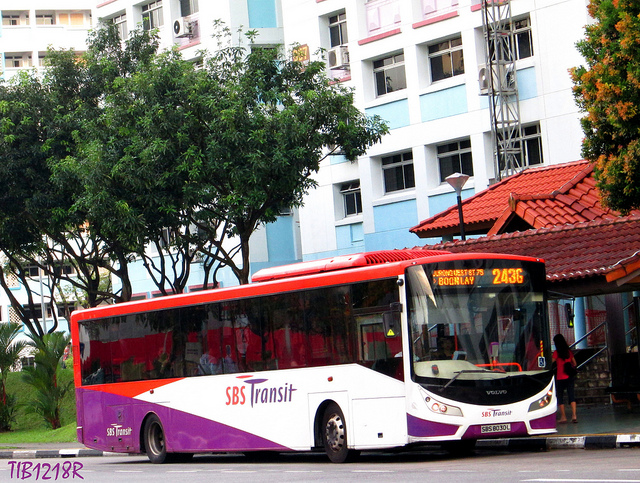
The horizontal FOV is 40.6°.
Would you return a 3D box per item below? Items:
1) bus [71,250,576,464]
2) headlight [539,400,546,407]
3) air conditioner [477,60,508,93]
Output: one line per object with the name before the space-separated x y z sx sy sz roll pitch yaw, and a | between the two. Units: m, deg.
bus | -0.952 2.867 20.175 12.973 3.267 3.255 -10 -5 41
headlight | 4.251 3.069 16.483 0.138 0.110 0.025 -3 -3 -37
air conditioner | 6.314 -6.035 32.374 0.706 0.961 0.745 -5 1 31
